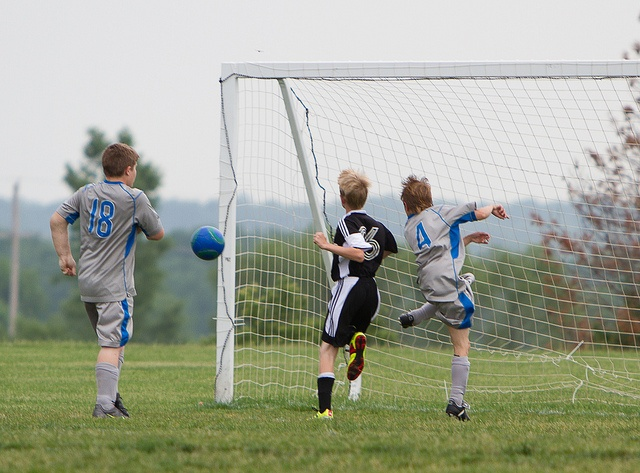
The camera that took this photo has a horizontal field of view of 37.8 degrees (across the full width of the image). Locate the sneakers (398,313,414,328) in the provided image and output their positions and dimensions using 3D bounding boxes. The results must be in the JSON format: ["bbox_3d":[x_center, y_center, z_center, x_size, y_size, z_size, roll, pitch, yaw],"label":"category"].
[{"bbox_3d":[1.612,1.542,17.300,0.189,0.276,0.270,1,-51,5],"label":"sneakers"}]

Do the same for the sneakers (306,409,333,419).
[{"bbox_3d":[0.028,3.178,16.853,0.396,0.199,0.155,1,-3,21],"label":"sneakers"}]

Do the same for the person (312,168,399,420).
[{"bbox_3d":[0.585,0.675,16.935,1.349,3.714,0.764,0,7,2],"label":"person"}]

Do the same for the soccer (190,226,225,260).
[{"bbox_3d":[-2.078,0.151,17.583,0.477,0.550,0.511,9,-10,-13],"label":"soccer"}]

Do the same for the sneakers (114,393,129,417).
[{"bbox_3d":[-3.639,3.091,17.096,0.109,0.335,0.232,-32,-12,-39],"label":"sneakers"}]
